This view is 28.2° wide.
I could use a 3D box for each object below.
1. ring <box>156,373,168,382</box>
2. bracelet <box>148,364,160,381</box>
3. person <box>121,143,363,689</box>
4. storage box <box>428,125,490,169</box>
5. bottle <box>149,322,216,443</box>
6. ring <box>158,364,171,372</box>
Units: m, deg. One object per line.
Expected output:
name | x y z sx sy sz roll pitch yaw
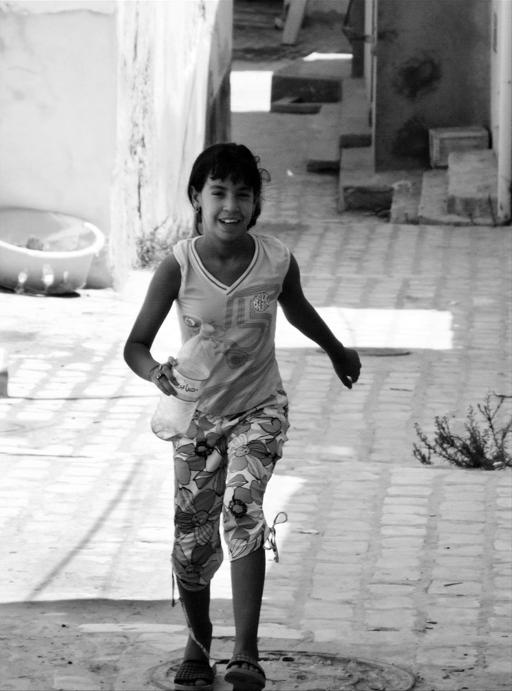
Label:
ring | -0.221 0.074 2.386 0.023 0.016 0.012 2 9 30
bracelet | -0.239 0.064 2.409 0.032 0.035 0.024 11 -4 1
person | -0.072 0.168 2.511 0.514 1.326 0.730 -1 9 10
storage box | 2.596 -2.560 13.238 0.982 0.450 0.584 -3 8 -1
bottle | -0.177 0.094 2.517 0.155 0.297 0.221 -4 8 -11
ring | -0.215 0.052 2.398 0.024 0.020 0.013 -11 24 3
